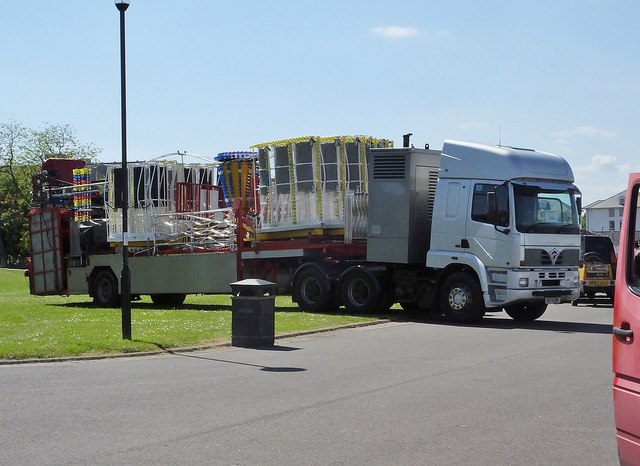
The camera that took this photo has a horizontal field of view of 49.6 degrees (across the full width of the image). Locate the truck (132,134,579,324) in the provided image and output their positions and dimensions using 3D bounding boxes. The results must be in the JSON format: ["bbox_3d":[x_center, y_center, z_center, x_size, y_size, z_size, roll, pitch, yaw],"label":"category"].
[{"bbox_3d":[-0.091,-0.130,23.238,13.738,5.466,4.429,1,-6,22],"label":"truck"}]

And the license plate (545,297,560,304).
[{"bbox_3d":[6.227,1.794,18.605,0.546,0.167,0.260,0,0,-36],"label":"license plate"}]

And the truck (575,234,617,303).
[{"bbox_3d":[11.277,1.422,27.719,1.782,2.375,3.687,-3,-1,29],"label":"truck"}]

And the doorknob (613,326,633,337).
[{"bbox_3d":[3.013,0.979,6.924,0.073,0.079,0.233,0,0,-17],"label":"doorknob"}]
